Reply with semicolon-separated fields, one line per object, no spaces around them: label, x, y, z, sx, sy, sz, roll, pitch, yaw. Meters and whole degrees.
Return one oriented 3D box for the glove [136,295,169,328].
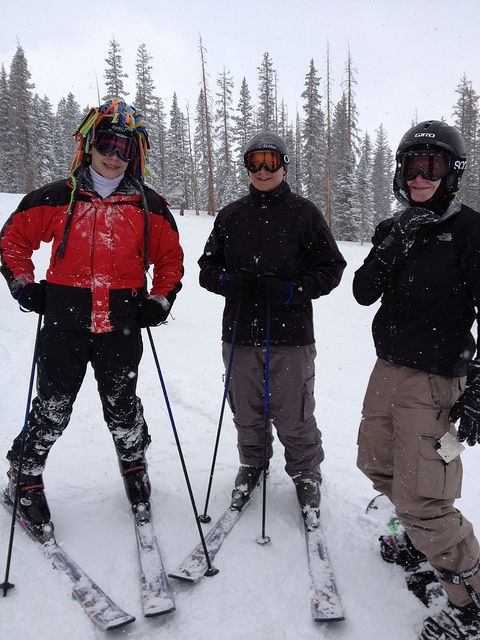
glove;-0.542;-0.048;3.861;0.160;0.209;0.185;22;57;19

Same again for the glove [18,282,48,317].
glove;-1.243;-0.132;3.674;0.159;0.204;0.193;-1;12;-20

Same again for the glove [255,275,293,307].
glove;0.203;-0.170;3.859;0.227;0.204;0.252;4;12;2

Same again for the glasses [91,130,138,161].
glasses;-0.743;-1.032;3.647;0.246;0.169;0.113;0;12;-16

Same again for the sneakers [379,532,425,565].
sneakers;0.937;1.351;3.616;0.239;0.159;0.121;5;-7;12

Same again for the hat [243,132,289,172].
hat;0.156;-1.116;4.031;0.287;0.282;0.323;4;10;21

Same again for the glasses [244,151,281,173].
glasses;0.139;-1.010;3.932;0.253;0.145;0.094;5;12;7

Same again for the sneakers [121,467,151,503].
sneakers;-0.662;1.084;3.979;0.127;0.099;0.256;-3;58;-20

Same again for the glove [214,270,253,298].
glove;-0.043;-0.219;3.906;0.240;0.162;0.113;12;14;35

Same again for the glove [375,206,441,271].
glove;0.909;-0.425;3.350;0.134;0.348;0.245;6;26;-43

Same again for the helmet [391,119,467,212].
helmet;1.044;-0.876;3.445;0.355;0.508;0.419;5;13;5
